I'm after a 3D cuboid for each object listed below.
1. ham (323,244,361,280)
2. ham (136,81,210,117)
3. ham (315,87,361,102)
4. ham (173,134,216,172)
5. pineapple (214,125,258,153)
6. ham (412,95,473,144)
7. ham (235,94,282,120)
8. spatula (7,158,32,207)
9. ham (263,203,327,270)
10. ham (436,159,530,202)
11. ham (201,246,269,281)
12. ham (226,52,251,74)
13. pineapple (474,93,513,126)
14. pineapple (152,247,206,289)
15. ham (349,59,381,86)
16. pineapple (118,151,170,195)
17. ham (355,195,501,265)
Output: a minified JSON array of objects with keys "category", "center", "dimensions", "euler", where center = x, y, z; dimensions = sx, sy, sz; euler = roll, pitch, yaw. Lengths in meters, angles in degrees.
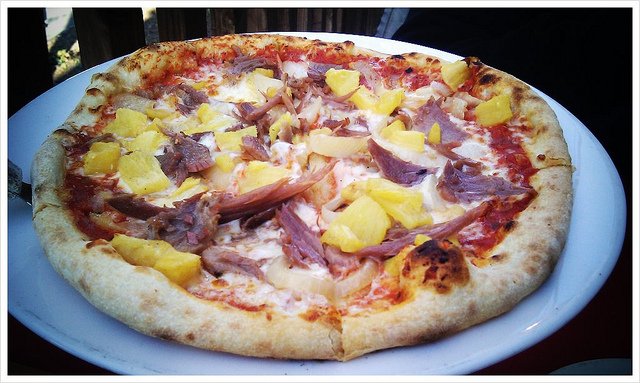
[{"category":"ham","center":[0.171,0.482,3.668],"dimensions":[0.240,0.066,0.212],"euler":[-11,69,-3]},{"category":"ham","center":[-1.516,-1.011,5.155],"dimensions":[0.598,0.104,0.440],"euler":[18,35,11]},{"category":"ham","center":[0.121,-0.959,5.072],"dimensions":[0.226,0.053,0.222],"euler":[20,37,7]},{"category":"ham","center":[-1.112,-0.334,4.406],"dimensions":[0.394,0.264,0.234],"euler":[2,14,12]},{"category":"pineapple","center":[-0.776,-0.473,4.551],"dimensions":[0.295,0.103,0.286],"euler":[1,45,-10]},{"category":"ham","center":[1.167,-0.701,4.851],"dimensions":[0.345,0.357,0.627],"euler":[-14,24,-39]},{"category":"ham","center":[-0.603,-0.820,4.867],"dimensions":[0.331,0.107,0.321],"euler":[28,63,22]},{"category":"spatula","center":[-2.473,-0.081,4.117],"dimensions":[0.201,0.104,0.403],"euler":[-6,47,-18]},{"category":"ham","center":[-0.210,0.344,3.895],"dimensions":[0.373,0.170,0.516],"euler":[-24,50,-20]},{"category":"ham","center":[1.359,-0.052,4.228],"dimensions":[0.612,0.184,0.349],"euler":[9,39,16]},{"category":"ham","center":[-0.650,0.543,3.791],"dimensions":[0.533,0.096,0.307],"euler":[15,25,-3]},{"category":"ham","center":[-0.929,-1.443,5.553],"dimensions":[0.392,0.101,0.128],"euler":[-40,38,-18]},{"category":"pineapple","center":[1.676,-0.805,4.985],"dimensions":[0.270,0.372,0.282],"euler":[3,88,2]},{"category":"pineapple","center":[-1.024,0.556,3.661],"dimensions":[0.285,0.114,0.297],"euler":[40,61,8]},{"category":"ham","center":[0.508,-1.328,5.526],"dimensions":[0.332,0.088,0.347],"euler":[40,23,30]},{"category":"pineapple","center":[-1.539,-0.183,4.283],"dimensions":[0.302,0.115,0.447],"euler":[-27,51,-22]},{"category":"ham","center":[0.871,0.330,3.969],"dimensions":[1.295,0.225,0.168],"euler":[-21,85,-5]}]
